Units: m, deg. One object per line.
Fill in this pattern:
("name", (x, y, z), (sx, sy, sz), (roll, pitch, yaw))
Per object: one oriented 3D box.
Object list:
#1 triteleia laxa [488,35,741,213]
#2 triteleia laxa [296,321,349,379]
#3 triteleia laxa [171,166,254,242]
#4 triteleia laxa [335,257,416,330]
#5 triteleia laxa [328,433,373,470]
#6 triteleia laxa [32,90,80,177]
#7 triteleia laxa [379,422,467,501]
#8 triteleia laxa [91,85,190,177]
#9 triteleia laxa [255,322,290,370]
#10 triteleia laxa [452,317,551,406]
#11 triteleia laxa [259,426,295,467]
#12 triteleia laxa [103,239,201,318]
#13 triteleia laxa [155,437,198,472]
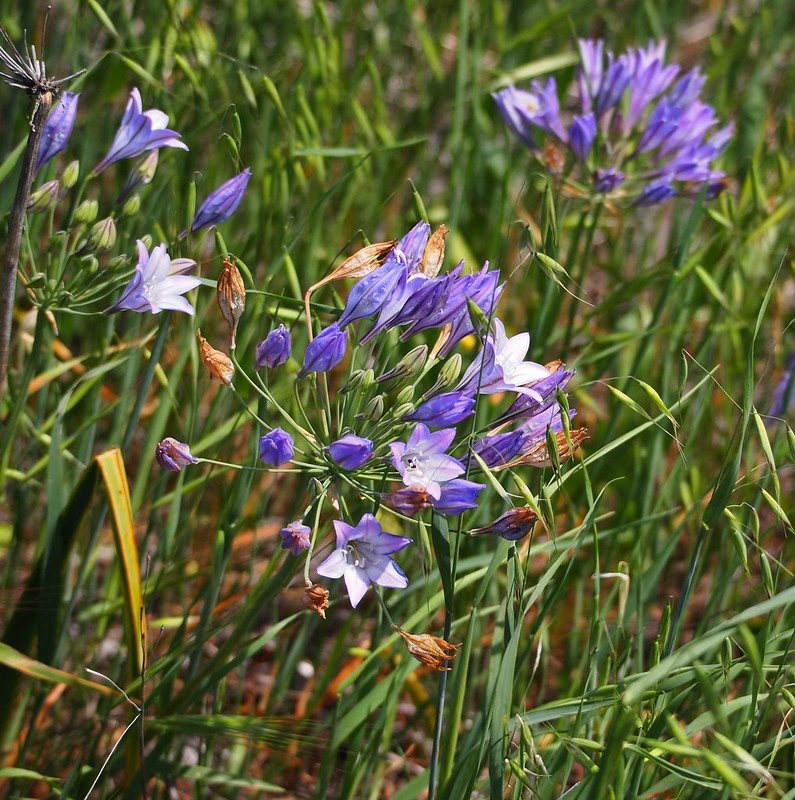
("triteleia laxa", (0.451, -0.536, 2.466), (0.402, 0.277, 0.381), (40, 32, 12))
("triteleia laxa", (-0.120, -0.081, 2.015), (0.078, 0.108, 0.058), (-9, 50, -22))
("triteleia laxa", (-0.312, -0.353, 2.139), (0.175, 0.067, 0.067), (-38, 61, -10))
("triteleia laxa", (-0.041, -0.171, 1.999), (0.056, 0.165, 0.032), (38, 10, 7))
("triteleia laxa", (-0.077, 0.079, 1.961), (0.047, 0.066, 0.060), (-12, 91, 6))
("triteleia laxa", (-0.595, -0.470, 2.120), (0.042, 0.043, 0.178), (18, 61, -15))
("triteleia laxa", (0.049, 0.106, 1.958), (0.130, 0.108, 0.100), (21, 48, 0))
("triteleia laxa", (-0.461, -0.484, 2.172), (0.160, 0.137, 0.155), (-22, 67, -28))
("triteleia laxa", (-0.220, -0.100, 2.142), (0.047, 0.095, 0.048), (21, 42, -3))
("triteleia laxa", (0.196, -0.038, 2.079), (0.175, 0.145, 0.089), (22, 65, -39))
("triteleia laxa", (-0.195, 0.073, 1.997), (0.045, 0.067, 0.024), (9, 13, 2))
("triteleia laxa", (-0.420, -0.204, 2.108), (0.105, 0.137, 0.153), (0, 37, -36))
("triteleia laxa", (-0.371, 0.109, 2.045), (0.064, 0.045, 0.058), (13, 49, -1))
